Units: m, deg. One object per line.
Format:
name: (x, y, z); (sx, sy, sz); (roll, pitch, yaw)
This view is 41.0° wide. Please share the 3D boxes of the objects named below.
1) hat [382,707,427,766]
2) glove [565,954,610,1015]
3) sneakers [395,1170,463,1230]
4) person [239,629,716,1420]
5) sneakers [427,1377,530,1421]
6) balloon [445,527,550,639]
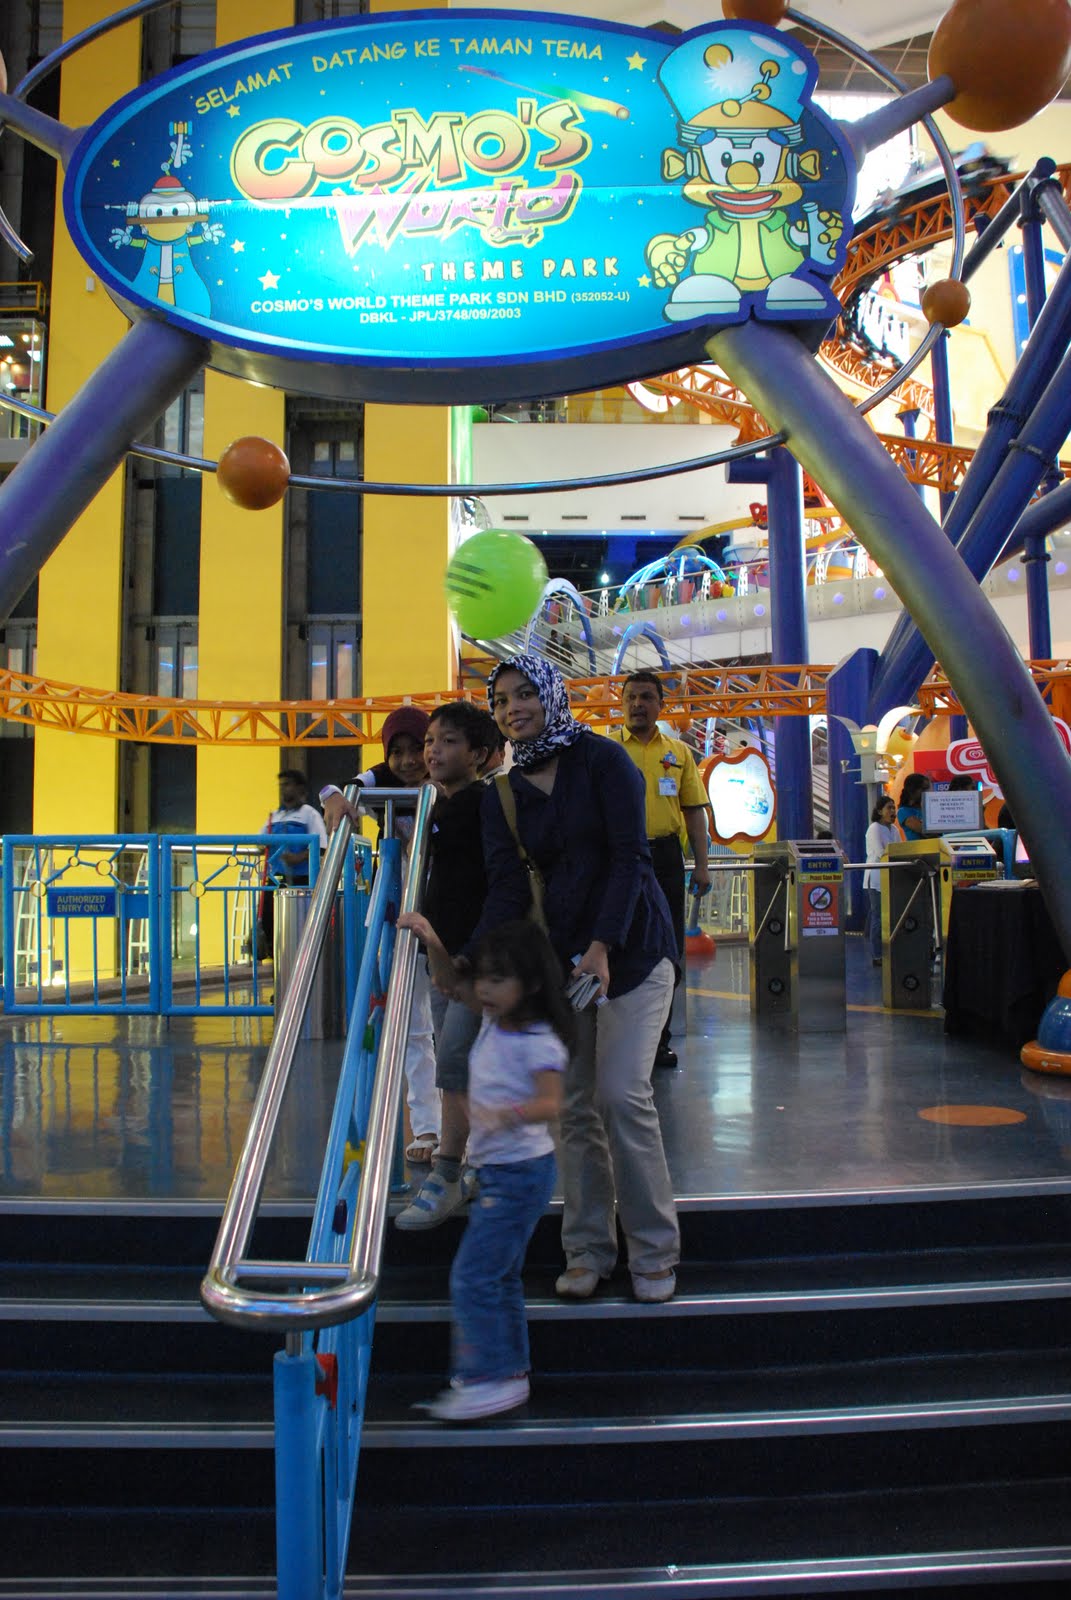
hat: (-0.415, -0.225, 4.589); (0.127, 0.147, 0.166); (0, -9, -1)
glove: (0.120, 0.417, 3.266); (0.102, 0.128, 0.149); (5, -4, 2)
sneakers: (-0.267, 1.013, 3.633); (0.084, 0.094, 0.228); (1, -6, 17)
person: (0.024, 0.472, 3.326); (0.602, 1.691, 0.774); (-1, 0, 6)
sneakers: (-0.117, 1.262, 3.013); (0.220, 0.094, 0.078); (1, -16, -17)
balloon: (-0.204, -1.159, 7.432); (0.471, 0.557, 0.889); (-1, 1, -1)
